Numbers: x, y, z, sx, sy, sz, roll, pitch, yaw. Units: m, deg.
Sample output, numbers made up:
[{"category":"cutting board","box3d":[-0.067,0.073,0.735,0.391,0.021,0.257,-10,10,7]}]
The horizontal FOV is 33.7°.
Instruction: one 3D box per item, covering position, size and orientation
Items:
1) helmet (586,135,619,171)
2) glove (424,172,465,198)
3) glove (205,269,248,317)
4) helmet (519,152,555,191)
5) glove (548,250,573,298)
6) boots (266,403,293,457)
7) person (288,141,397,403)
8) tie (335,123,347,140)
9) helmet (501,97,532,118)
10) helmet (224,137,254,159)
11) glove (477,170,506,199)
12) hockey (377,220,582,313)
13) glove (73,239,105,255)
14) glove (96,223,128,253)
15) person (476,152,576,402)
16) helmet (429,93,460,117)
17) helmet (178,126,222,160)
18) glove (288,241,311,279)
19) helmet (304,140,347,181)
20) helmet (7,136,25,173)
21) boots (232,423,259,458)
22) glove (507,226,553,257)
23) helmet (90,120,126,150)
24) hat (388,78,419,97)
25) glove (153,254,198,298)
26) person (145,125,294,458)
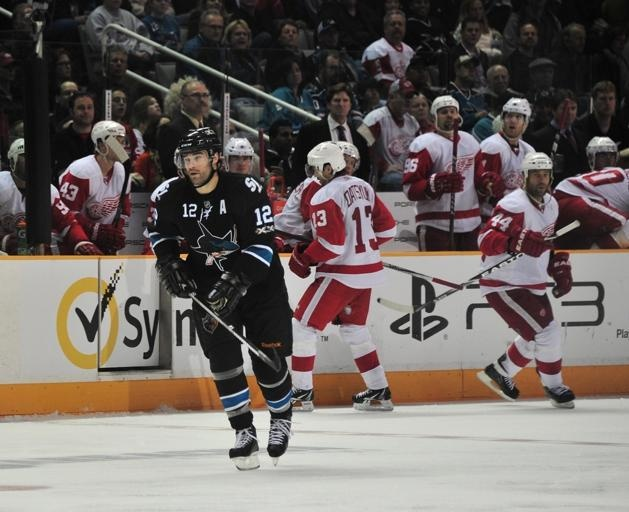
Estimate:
[{"category":"helmet","box3d":[2.679,-0.981,9.840,0.271,0.320,0.328,-2,2,-9]},{"category":"glove","box3d":[1.111,-0.599,8.789,0.285,0.159,0.108,-2,-35,2]},{"category":"glove","box3d":[-0.485,0.217,5.834,0.165,0.271,0.115,37,-21,7]},{"category":"helmet","box3d":[1.737,-0.687,8.086,0.206,0.255,0.273,1,-2,-3]},{"category":"glove","box3d":[1.967,0.146,8.217,0.201,0.337,0.150,6,-5,31]},{"category":"boots","box3d":[-0.194,1.003,5.944,0.124,0.278,0.113,-2,-36,8]},{"category":"person","box3d":[0.206,0.173,7.790,0.775,2.023,0.484,0,7,3]},{"category":"tie","box3d":[0.253,-1.120,9.396,0.088,0.135,0.037,-8,0,-20]},{"category":"helmet","box3d":[1.799,-1.332,9.253,0.180,0.201,0.212,5,-13,15]},{"category":"helmet","box3d":[-0.648,-0.920,8.976,0.175,0.194,0.201,1,-15,-15]},{"category":"glove","box3d":[1.522,-0.623,9.029,0.104,0.186,0.255,-34,35,-31]},{"category":"hockey","box3d":[1.318,0.115,8.292,1.143,0.087,0.345,-25,4,6]},{"category":"glove","box3d":[-1.818,-0.061,8.244,0.203,0.108,0.131,0,7,5]},{"category":"glove","box3d":[-1.678,-0.150,8.540,0.242,0.219,0.091,4,15,-13]},{"category":"person","box3d":[1.648,0.180,8.080,0.729,1.923,0.566,0,7,9]},{"category":"helmet","box3d":[1.135,-1.307,9.077,0.216,0.176,0.280,0,7,2]},{"category":"helmet","box3d":[-0.651,-0.637,5.900,0.205,0.181,0.157,-2,-7,-27]},{"category":"glove","box3d":[-0.108,0.046,7.807,0.139,0.254,0.207,14,21,11]},{"category":"helmet","box3d":[0.095,-0.714,7.812,0.295,0.238,0.218,-12,16,6]},{"category":"helmet","box3d":[-2.424,-0.814,8.432,0.115,0.267,0.293,-3,7,-19]},{"category":"boots","box3d":[-0.405,1.052,5.855,0.115,0.175,0.261,-5,-10,20]},{"category":"glove","box3d":[1.636,-0.093,7.863,0.320,0.209,0.195,1,7,11]},{"category":"helmet","box3d":[-1.715,-0.990,8.587,0.237,0.223,0.177,-22,32,6]},{"category":"hat","box3d":[0.855,-1.607,9.962,0.250,0.138,0.170,-10,13,12]},{"category":"glove","box3d":[-0.786,0.128,5.876,0.160,0.250,0.108,-25,-18,-7]},{"category":"person","box3d":[-0.538,0.233,5.910,0.788,1.898,0.510,0,7,3]}]
